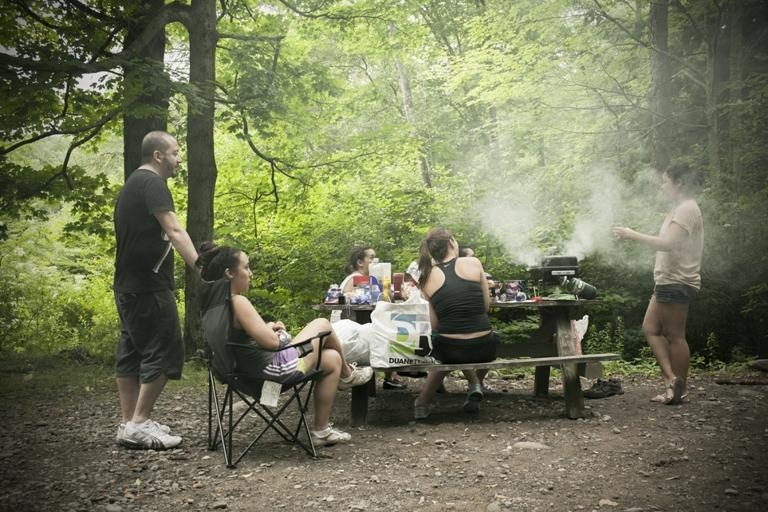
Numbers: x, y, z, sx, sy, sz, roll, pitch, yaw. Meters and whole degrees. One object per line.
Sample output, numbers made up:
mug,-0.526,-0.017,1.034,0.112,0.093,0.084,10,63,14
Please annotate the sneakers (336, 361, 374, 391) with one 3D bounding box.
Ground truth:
sneakers,-0.340,1.449,8.344,0.508,0.231,0.195,-10,32,-27

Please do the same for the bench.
bench,1.366,1.716,9.559,3.672,0.893,2.814,0,-2,-4

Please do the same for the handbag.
handbag,0.280,0.946,8.437,0.974,0.952,0.417,0,-8,-7

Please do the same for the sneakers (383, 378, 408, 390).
sneakers,0.174,1.905,10.071,0.349,0.142,0.134,0,-6,-3

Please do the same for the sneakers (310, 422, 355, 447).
sneakers,-0.617,2.132,8.104,0.492,0.236,0.211,0,-6,-16

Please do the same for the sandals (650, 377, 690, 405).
sandals,3.780,1.780,8.884,0.235,0.248,0.616,-5,-8,8

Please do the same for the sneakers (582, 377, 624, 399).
sneakers,3.021,1.829,9.358,0.443,0.159,0.296,-5,-1,-19

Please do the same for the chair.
chair,-1.433,1.326,8.203,1.322,1.923,1.396,1,4,-17

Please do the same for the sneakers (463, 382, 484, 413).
sneakers,1.161,1.795,8.718,0.204,0.416,0.290,5,35,1

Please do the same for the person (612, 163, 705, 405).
person,3.710,0.588,8.859,0.894,2.647,0.409,0,-1,9
